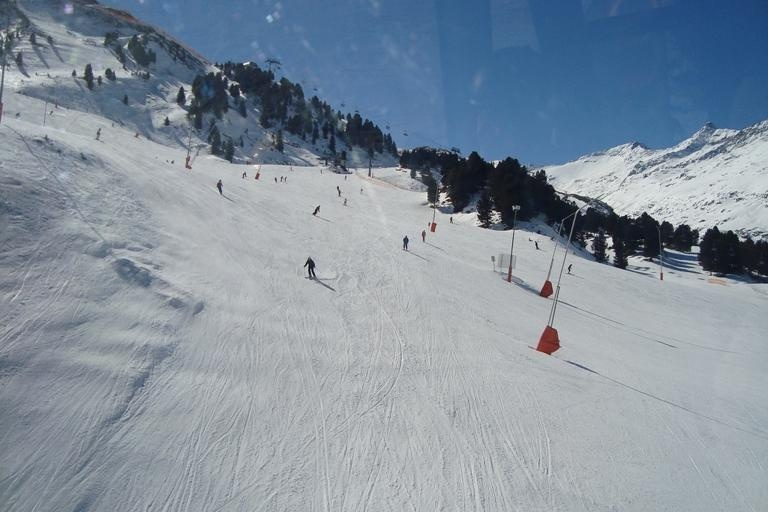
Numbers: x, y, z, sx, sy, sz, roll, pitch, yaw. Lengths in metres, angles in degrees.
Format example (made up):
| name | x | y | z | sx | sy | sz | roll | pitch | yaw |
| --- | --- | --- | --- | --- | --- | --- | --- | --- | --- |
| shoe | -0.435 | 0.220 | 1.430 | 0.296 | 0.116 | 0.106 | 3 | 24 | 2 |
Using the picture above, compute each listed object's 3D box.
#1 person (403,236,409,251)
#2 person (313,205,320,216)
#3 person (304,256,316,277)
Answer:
| name | x | y | z | sx | sy | sz | roll | pitch | yaw |
| --- | --- | --- | --- | --- | --- | --- | --- | --- | --- |
| person | 2.261 | -1.414 | 56.783 | 0.613 | 1.253 | 2.147 | 8 | 13 | 2 |
| person | -7.778 | -5.259 | 64.567 | 0.534 | 0.602 | 1.277 | 30 | -17 | -11 |
| person | -6.209 | 0.776 | 47.481 | 0.974 | 1.501 | 1.869 | 6 | 13 | -10 |
